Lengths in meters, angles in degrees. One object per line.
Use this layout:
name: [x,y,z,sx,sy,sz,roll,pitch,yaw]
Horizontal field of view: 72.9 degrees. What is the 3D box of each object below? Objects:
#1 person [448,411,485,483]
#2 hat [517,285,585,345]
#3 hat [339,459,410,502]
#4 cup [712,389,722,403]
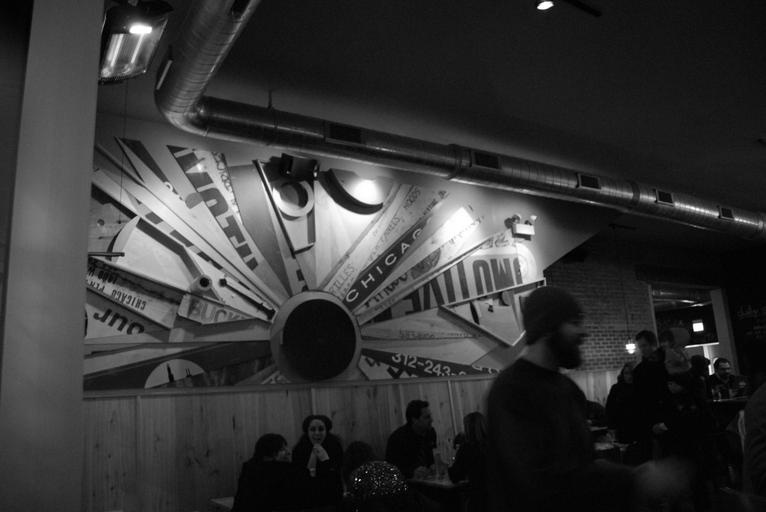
person: [0.911,2.018,5.577,0.353,0.587,1.212,-4,-13,11]
hat: [0.874,0.317,2.908,0.344,0.341,0.247,-20,-9,4]
hat: [-0.068,1.677,3.979,0.419,0.361,0.324,-4,-18,26]
cup: [6.396,2.660,9.904,0.178,0.247,0.165,3,-19,1]
